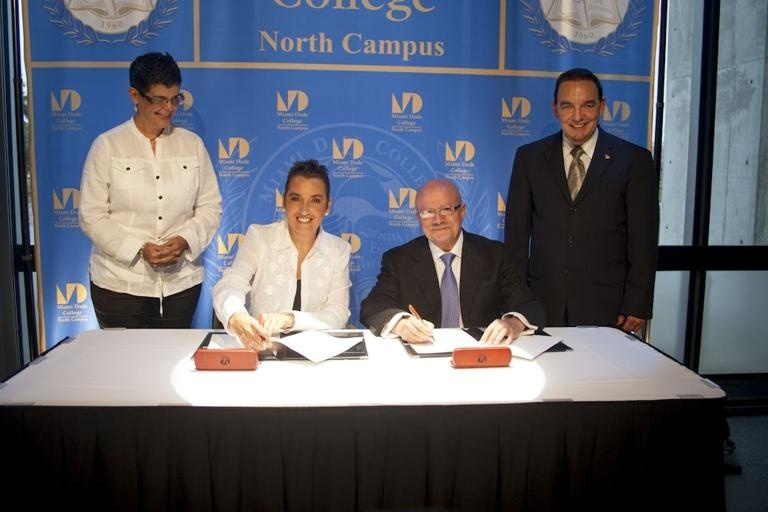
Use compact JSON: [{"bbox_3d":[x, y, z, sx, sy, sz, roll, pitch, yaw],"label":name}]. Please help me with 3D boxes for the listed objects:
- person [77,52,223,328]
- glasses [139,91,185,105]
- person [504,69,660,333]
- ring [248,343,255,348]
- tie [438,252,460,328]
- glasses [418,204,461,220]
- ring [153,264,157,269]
[{"bbox_3d":[-1.683,-0.440,4.719,0.937,1.931,0.323,0,6,-2],"label":"person"},{"bbox_3d":[-1.577,-1.126,4.697,0.298,0.084,0.109,-3,8,-23],"label":"glasses"},{"bbox_3d":[1.356,0.015,4.695,1.006,2.579,0.649,5,25,23],"label":"person"},{"bbox_3d":[-0.721,0.481,3.567,0.021,0.033,0.008,3,-5,2],"label":"ring"},{"bbox_3d":[0.423,0.212,4.234,0.130,0.465,0.115,0,6,-2],"label":"tie"},{"bbox_3d":[0.351,-0.285,4.189,0.269,0.102,0.076,0,7,1],"label":"glasses"},{"bbox_3d":[-1.629,0.074,4.670,0.028,0.023,0.029,3,13,-1],"label":"ring"}]
